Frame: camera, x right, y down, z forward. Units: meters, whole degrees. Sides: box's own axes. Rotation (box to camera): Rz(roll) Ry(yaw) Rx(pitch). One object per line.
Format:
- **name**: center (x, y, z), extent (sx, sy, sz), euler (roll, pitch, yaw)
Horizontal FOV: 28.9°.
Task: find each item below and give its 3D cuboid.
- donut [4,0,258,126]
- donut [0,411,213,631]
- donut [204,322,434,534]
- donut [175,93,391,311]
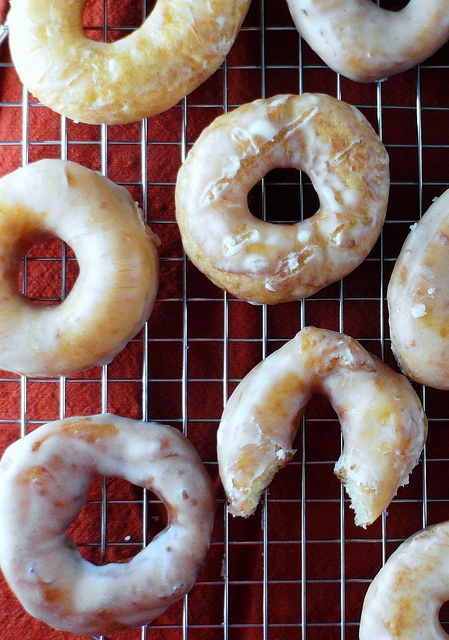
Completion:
- **donut**: center (-0.160, -0.397, 1.297), extent (0.343, 0.081, 0.207), euler (12, 84, 3)
- **donut**: center (-0.179, 0.298, 1.286), extent (0.315, 0.072, 0.314), euler (5, 83, 3)
- **donut**: center (0.147, 0.140, 1.342), extent (0.347, 0.099, 0.325), euler (7, 83, 3)
- **donut**: center (0.089, -0.179, 1.299), extent (0.319, 0.111, 0.292), euler (-8, 83, 1)
